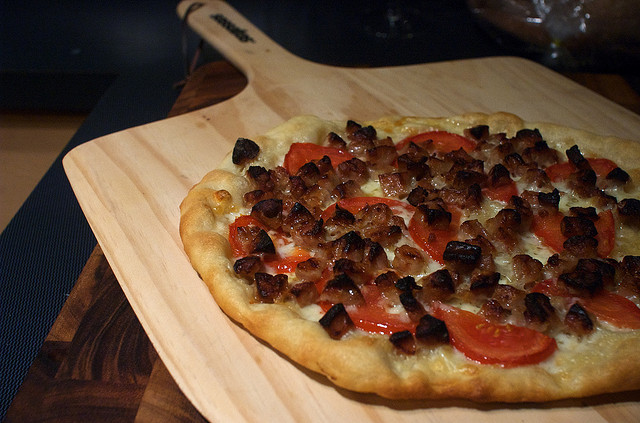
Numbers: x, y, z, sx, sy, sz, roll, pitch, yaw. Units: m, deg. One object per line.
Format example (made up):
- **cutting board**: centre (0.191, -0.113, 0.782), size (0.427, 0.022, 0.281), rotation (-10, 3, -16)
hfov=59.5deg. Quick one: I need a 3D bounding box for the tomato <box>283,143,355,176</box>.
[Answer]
- **tomato**: centre (-0.010, -0.338, 3.606), size (0.363, 0.084, 0.221), rotation (-3, 52, 2)
